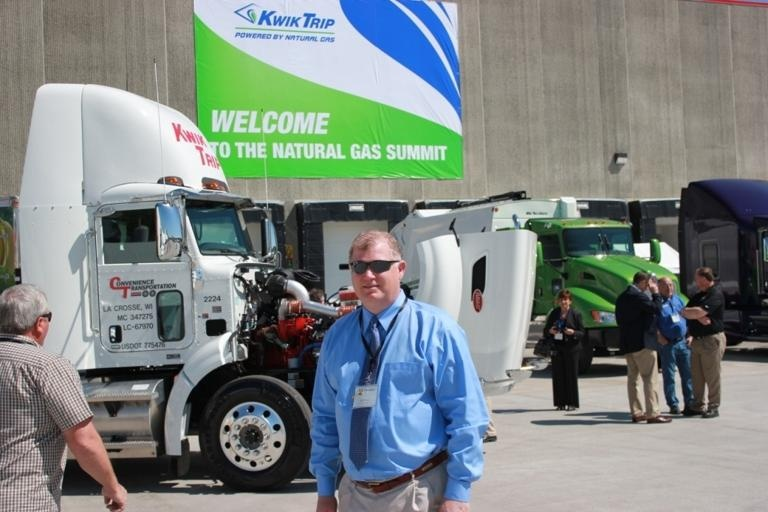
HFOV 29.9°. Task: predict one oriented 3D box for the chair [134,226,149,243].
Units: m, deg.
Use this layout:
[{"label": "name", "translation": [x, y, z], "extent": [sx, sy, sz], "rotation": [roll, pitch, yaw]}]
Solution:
[{"label": "chair", "translation": [-5.243, -0.476, 31.494], "extent": [0.293, 0.344, 0.310], "rotation": [0, -2, 12]}]
